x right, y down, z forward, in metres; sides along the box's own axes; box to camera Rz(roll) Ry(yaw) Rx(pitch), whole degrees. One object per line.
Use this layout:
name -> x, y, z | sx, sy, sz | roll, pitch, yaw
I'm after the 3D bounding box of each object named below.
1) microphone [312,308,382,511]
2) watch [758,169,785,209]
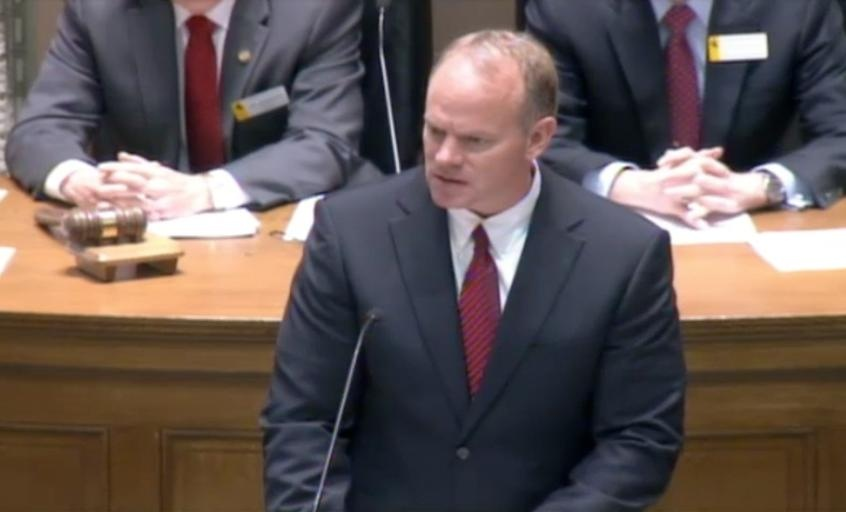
microphone -> -0.175, 0.341, 2.174 | 0.059, 0.068, 0.505 | 9, 58, 11
watch -> 1.063, -0.202, 2.947 | 0.094, 0.097, 0.087 | -13, 17, 11
